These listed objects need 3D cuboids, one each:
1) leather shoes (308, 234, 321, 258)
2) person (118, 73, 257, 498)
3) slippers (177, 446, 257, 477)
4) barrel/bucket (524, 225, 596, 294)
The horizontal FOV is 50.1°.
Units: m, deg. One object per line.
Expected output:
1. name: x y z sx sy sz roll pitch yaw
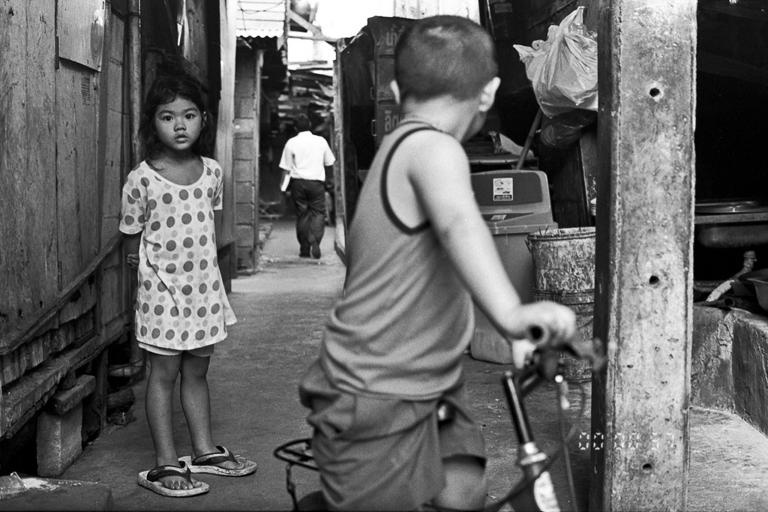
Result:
1. leather shoes: -1.123 -0.170 13.099 0.163 0.223 0.440 12 33 -26
2. person: -1.168 0.128 4.743 0.640 2.353 0.693 -4 10 -20
3. slippers: -0.985 1.228 4.858 0.389 0.137 0.192 1 4 6
4. barrel/bucket: 1.424 -0.016 6.547 0.603 0.539 0.606 -4 13 1
